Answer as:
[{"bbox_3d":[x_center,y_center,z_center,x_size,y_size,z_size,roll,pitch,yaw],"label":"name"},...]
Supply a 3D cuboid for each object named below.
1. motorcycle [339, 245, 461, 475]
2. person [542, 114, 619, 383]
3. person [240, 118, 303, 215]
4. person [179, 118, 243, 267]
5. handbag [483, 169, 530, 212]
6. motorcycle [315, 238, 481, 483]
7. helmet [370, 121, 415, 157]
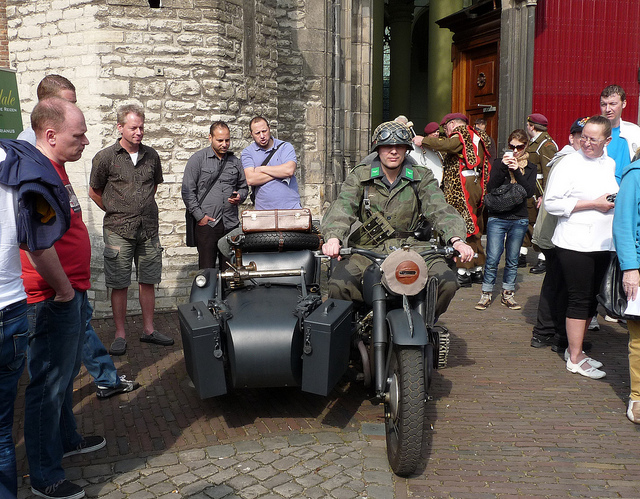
[{"bbox_3d":[0.595,0.685,5.573,0.920,1.529,3.112,1,7,-2],"label":"motorcycle"},{"bbox_3d":[2.542,-0.056,6.201,0.714,2.521,0.898,5,13,23],"label":"person"},{"bbox_3d":[-0.657,-1.088,7.912,0.738,1.155,0.463,-2,12,-7],"label":"person"},{"bbox_3d":[-1.293,-0.695,7.636,0.538,1.720,0.665,11,16,41],"label":"person"},{"bbox_3d":[2.473,-0.790,8.401,0.346,0.596,0.589,-10,0,-26],"label":"handbag"},{"bbox_3d":[0.601,0.663,5.597,1.013,1.528,3.170,1,11,-3],"label":"motorcycle"},{"bbox_3d":[0.586,-0.981,5.275,0.253,0.172,0.309,2,-25,-7],"label":"helmet"}]
